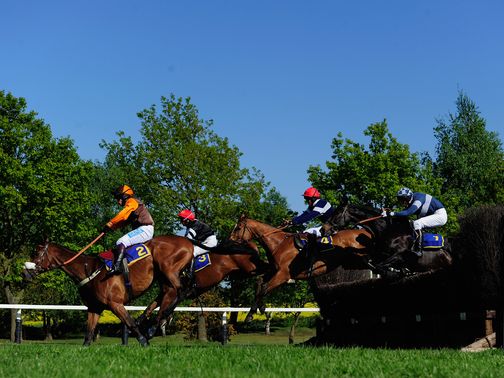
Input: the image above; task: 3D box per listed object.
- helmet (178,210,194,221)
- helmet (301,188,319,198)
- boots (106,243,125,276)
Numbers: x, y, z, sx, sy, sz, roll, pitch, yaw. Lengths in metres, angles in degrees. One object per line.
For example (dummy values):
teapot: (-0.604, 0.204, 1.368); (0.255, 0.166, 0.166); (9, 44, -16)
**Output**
helmet: (-2.037, 0.803, 24.383); (0.431, 0.205, 0.303); (20, 14, 13)
helmet: (1.720, 0.126, 22.882); (0.459, 0.221, 0.322); (3, -2, -10)
boots: (-3.868, 1.995, 22.414); (0.418, 0.842, 0.224); (-6, -11, 14)
